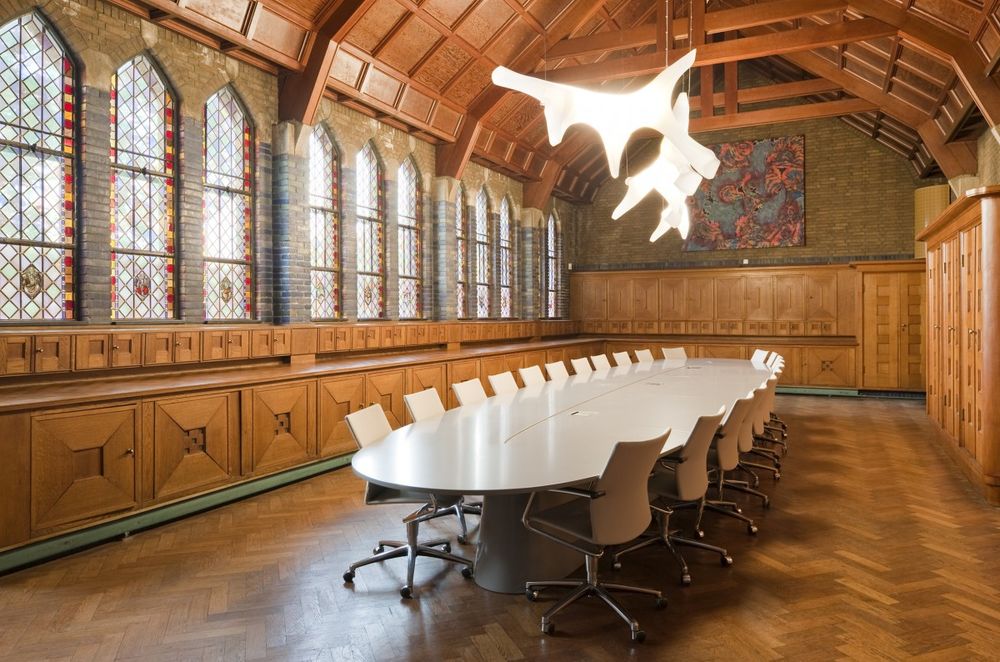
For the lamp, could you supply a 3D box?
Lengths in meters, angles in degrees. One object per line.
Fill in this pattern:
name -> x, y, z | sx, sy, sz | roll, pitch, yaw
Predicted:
lamp -> 1.329, -2.069, 7.359 | 2.045, 1.914, 2.335 | 1, 12, 6
